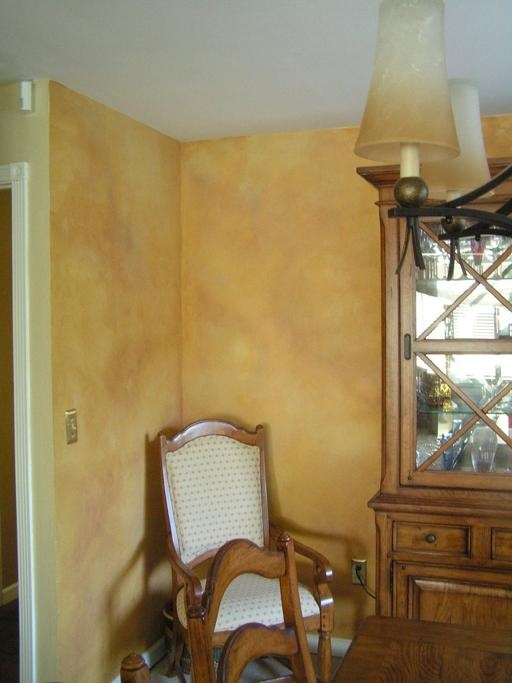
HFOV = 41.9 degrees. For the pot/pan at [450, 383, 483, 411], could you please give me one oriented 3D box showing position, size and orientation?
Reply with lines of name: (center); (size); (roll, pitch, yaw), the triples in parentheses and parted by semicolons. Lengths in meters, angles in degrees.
pot/pan: (0.717, 0.176, 2.280); (0.103, 0.122, 0.065); (11, -27, 6)
